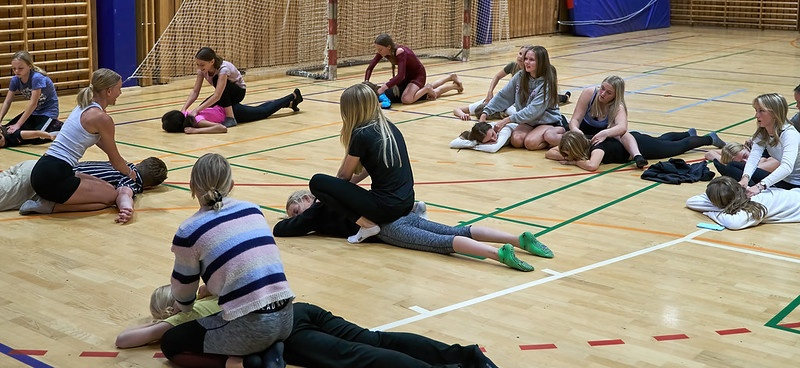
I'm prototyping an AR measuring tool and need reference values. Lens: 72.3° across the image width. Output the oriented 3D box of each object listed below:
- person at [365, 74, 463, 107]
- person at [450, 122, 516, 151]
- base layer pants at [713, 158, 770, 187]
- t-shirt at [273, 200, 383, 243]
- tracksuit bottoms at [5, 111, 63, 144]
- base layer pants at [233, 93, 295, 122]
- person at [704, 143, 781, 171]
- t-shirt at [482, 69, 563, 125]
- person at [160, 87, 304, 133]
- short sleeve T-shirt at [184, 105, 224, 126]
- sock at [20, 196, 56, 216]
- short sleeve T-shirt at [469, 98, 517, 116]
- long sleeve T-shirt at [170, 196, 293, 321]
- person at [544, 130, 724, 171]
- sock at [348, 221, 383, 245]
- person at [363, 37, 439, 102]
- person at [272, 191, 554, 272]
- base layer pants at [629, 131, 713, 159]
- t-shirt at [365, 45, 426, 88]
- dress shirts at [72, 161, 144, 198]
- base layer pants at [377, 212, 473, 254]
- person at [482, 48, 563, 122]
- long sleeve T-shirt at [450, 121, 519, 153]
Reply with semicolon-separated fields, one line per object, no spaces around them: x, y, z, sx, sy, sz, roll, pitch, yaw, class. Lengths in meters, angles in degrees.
0.219;-1.982;12.153;2.145;0.397;1.068;-11;2;8;person
1.462;-0.763;9.376;0.575;0.199;0.924;-4;10;45;person
4.856;-0.090;7.883;0.340;0.422;0.805;25;36;8;base layer pants
-0.972;0.466;7.046;1.139;0.268;0.611;0;-19;3;t-shirt
-6.362;-0.954;9.501;0.944;0.226;0.672;-11;20;-33;tracksuit bottoms
-2.718;-1.590;11.050;1.791;0.450;0.412;3;0;27;base layer pants
5.015;-0.381;7.981;0.661;0.207;0.368;-9;-7;30;person
2.192;-1.451;9.702;1.401;0.687;1.088;-24;37;-37;t-shirt
-3.212;-1.396;10.634;2.593;0.466;1.148;-14;27;-24;person
-3.605;-1.278;10.219;0.615;0.163;0.354;-22;40;-32;short sleeve T-shirt
-4.853;0.296;7.376;0.380;0.117;0.313;-3;7;-3;sock
1.785;-1.453;10.433;0.728;0.242;0.917;-7;2;3;short sleeve T-shirt
-1.507;0.609;5.604;1.197;1.013;1.322;-23;18;-28;long sleeve T-shirt
3.790;-0.609;8.930;2.252;0.374;1.005;-6;11;-9;person
-0.444;0.607;6.797;0.459;0.155;0.186;-17;23;31;sock
-0.016;-2.500;12.051;1.017;1.261;2.216;17;21;37;person
0.079;0.476;6.945;3.294;0.522;0.864;11;12;11;person
4.387;-0.618;8.997;1.030;0.166;0.610;-6;6;-8;base layer pants
-0.170;-2.545;11.993;1.642;0.942;0.966;-6;26;-6;t-shirt
-4.059;-0.124;7.708;0.752;0.219;0.577;22;5;-16;dress shirts
0.293;0.589;6.678;0.943;0.161;0.499;6;29;26;base layer pants
2.162;-1.652;9.607;1.552;1.177;1.159;-1;29;12;person
1.349;-0.896;9.675;0.698;0.272;0.974;22;41;11;long sleeve T-shirt
